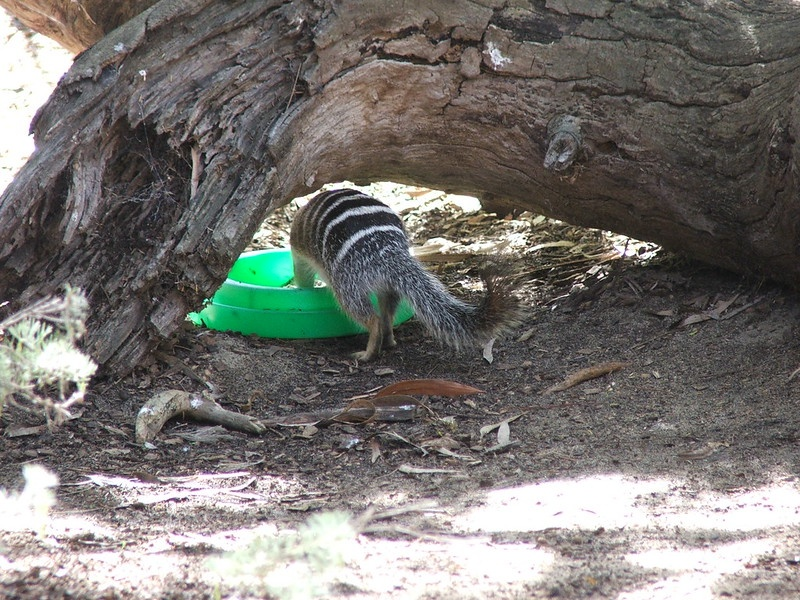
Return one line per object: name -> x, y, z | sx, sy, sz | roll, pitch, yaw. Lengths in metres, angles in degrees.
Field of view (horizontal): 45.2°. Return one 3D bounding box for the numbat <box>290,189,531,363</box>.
numbat -> -0.076, -0.132, 6.106 | 0.616, 1.031, 2.648 | 4, 4, -32
